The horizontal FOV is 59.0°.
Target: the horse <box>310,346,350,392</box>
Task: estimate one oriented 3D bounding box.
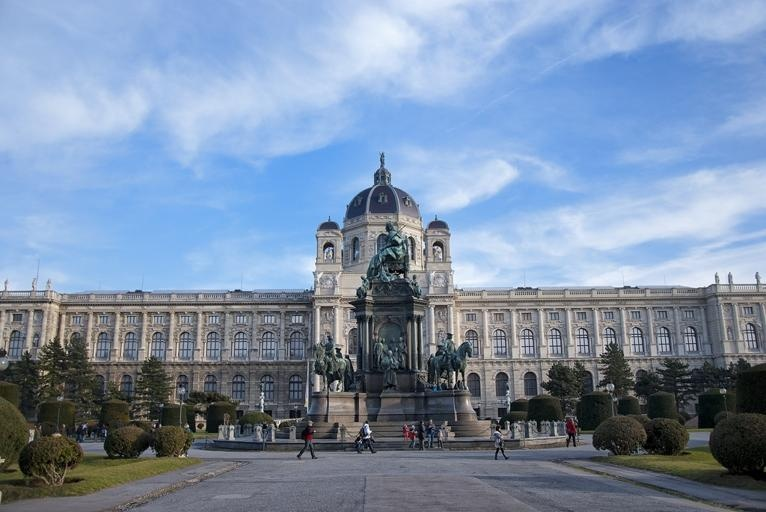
[{"bbox_3d":[-3.196,6.927,42.196,2.392,2.855,1.140,9,-18,-35],"label":"horse"}]

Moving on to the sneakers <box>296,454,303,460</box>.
[{"bbox_3d":[-4.193,9.936,33.538,0.188,0.149,0.432,-34,-39,-26],"label":"sneakers"}]

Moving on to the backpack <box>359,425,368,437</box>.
[{"bbox_3d":[-0.966,9.205,35.846,0.426,0.614,0.797,1,-15,-9],"label":"backpack"}]

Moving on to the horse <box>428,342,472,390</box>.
[{"bbox_3d":[4.261,6.841,42.697,1.102,3.073,3.738,14,-22,-41],"label":"horse"}]
